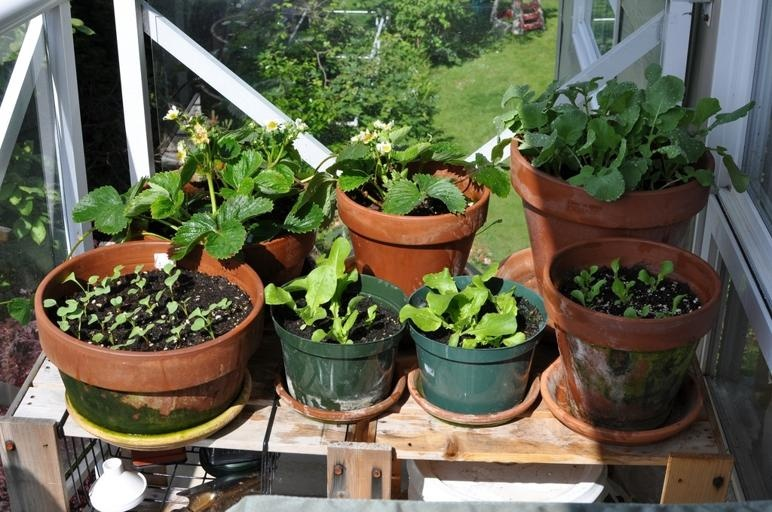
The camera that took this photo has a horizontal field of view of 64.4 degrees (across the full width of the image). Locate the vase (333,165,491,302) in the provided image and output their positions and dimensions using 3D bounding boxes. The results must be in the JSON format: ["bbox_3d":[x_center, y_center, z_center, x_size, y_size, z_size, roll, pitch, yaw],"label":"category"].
[{"bbox_3d":[0.072,-0.041,1.898,0.358,0.272,0.367,-4,31,-9],"label":"vase"}]

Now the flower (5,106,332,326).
[{"bbox_3d":[-0.646,-0.016,1.902,0.900,0.422,0.617,-25,60,-24],"label":"flower"}]

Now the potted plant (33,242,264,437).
[{"bbox_3d":[-0.563,0.250,1.588,0.525,0.278,0.529,-9,30,-26],"label":"potted plant"}]

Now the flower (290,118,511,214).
[{"bbox_3d":[0.076,-0.242,1.825,0.445,0.194,0.372,8,24,29],"label":"flower"}]
